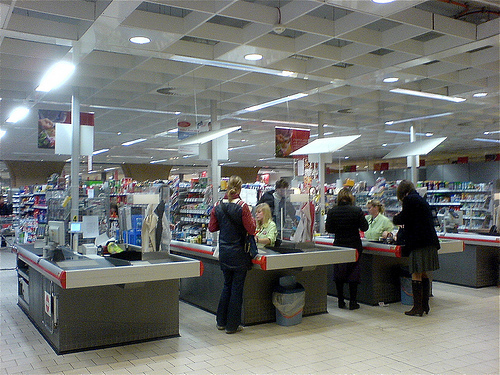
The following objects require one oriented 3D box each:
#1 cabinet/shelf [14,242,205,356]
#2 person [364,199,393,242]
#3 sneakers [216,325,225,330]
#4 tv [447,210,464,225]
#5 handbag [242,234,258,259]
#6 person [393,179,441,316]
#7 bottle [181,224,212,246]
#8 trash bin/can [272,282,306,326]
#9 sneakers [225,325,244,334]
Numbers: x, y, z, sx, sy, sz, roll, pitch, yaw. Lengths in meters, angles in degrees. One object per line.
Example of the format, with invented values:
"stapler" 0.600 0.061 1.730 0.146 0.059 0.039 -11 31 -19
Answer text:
"cabinet/shelf" -2.382 1.489 6.192 1.917 0.980 3.375 2 -1 -32
"person" 2.419 0.621 7.520 0.395 0.946 0.660 4 -8 -18
"sneakers" -0.417 2.014 5.808 0.055 0.055 0.142 2 3 -29
"tv" 4.389 0.626 8.605 0.261 0.308 0.970 1 2 26
"handbag" -0.012 0.824 5.653 0.199 0.398 0.351 -8 -1 -4
"person" 2.671 0.953 6.511 0.708 2.158 0.503 1 3 14
"bottle" -1.016 0.882 7.598 0.326 0.340 1.011 3 -3 -27
"trash bin/can" 0.580 1.732 6.022 0.477 0.633 0.278 0 2 3
"sneakers" -0.215 2.025 5.776 0.266 0.094 0.089 -5 5 -39
